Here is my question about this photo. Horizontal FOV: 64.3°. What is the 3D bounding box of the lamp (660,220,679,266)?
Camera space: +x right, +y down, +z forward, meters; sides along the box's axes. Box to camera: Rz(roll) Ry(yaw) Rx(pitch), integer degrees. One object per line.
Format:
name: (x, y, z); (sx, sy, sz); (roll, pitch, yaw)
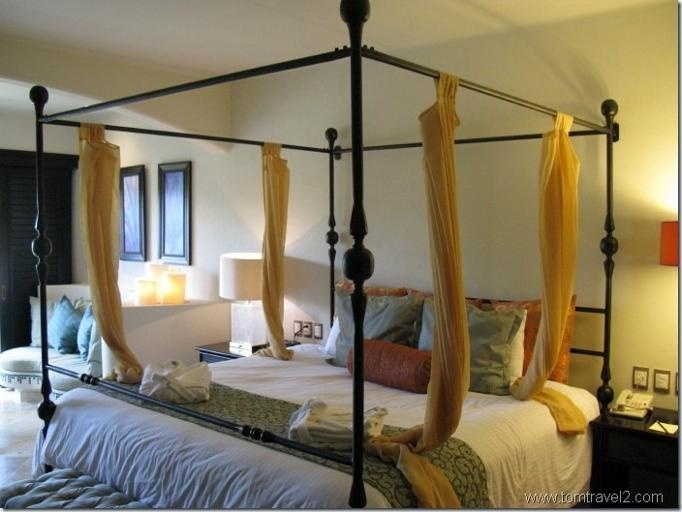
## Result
lamp: (2.007, -0.087, 3.328); (0.081, 0.261, 0.248); (0, 3, 23)

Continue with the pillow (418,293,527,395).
pillow: (0.927, 0.632, 3.440); (0.584, 0.663, 0.244); (2, -12, 37)

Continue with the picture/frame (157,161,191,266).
picture/frame: (-1.834, -0.473, 5.987); (0.543, 1.100, 0.039); (3, 3, 31)

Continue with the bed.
bed: (0.071, -0.490, 3.712); (2.845, 2.667, 3.055); (-1, -5, 40)

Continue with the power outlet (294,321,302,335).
power outlet: (-0.391, 0.655, 4.989); (0.106, 0.156, 0.014); (4, 5, 44)
